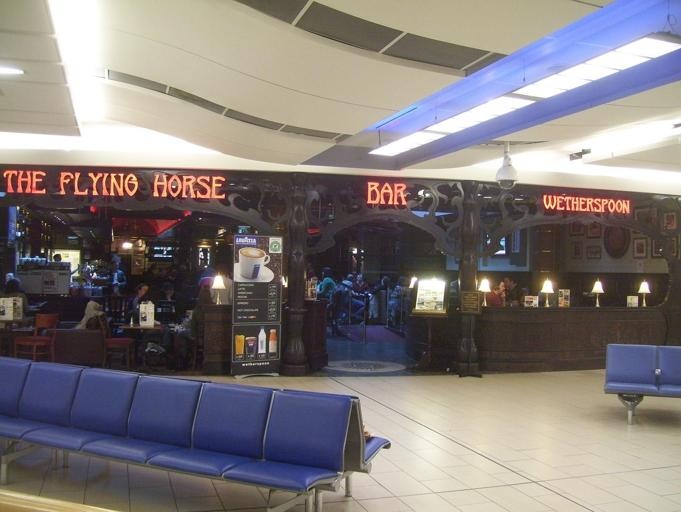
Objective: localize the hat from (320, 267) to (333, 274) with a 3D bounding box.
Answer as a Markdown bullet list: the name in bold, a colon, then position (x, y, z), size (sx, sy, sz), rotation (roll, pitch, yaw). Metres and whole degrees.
- **hat**: position (-0.343, 0.432, 15.531), size (0.220, 0.242, 0.256), rotation (0, 13, -4)

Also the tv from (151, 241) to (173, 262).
- **tv**: position (-4.916, -0.131, 15.588), size (0.562, 0.505, 0.287), rotation (2, 3, -13)

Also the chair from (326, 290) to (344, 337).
- **chair**: position (-0.152, 1.553, 15.675), size (0.384, 1.282, 0.487), rotation (1, 3, 0)

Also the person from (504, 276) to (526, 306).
- **person**: position (4.221, 0.833, 13.890), size (0.647, 0.754, 0.667), rotation (0, -4, -7)

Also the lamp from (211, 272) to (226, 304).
- **lamp**: position (-2.396, 0.634, 11.168), size (0.270, 0.550, 0.673), rotation (1, 3, -13)
